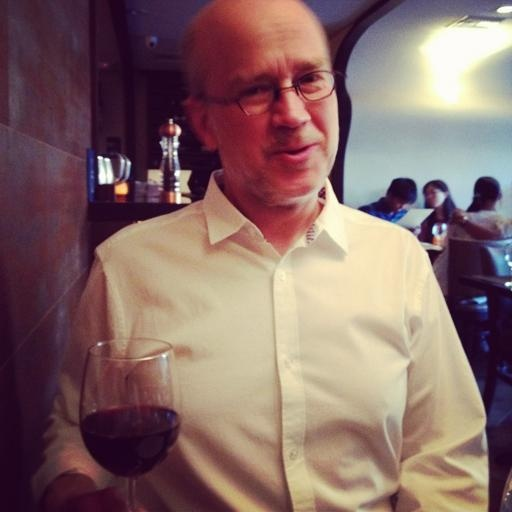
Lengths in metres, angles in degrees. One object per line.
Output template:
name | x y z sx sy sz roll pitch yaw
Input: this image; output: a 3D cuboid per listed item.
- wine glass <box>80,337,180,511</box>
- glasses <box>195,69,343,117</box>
wine glass | -0.188 0.278 0.808 0.129 0.315 0.271 -1 7 -15
glasses | 0.022 -0.287 0.960 0.231 0.087 0.080 2 6 4
